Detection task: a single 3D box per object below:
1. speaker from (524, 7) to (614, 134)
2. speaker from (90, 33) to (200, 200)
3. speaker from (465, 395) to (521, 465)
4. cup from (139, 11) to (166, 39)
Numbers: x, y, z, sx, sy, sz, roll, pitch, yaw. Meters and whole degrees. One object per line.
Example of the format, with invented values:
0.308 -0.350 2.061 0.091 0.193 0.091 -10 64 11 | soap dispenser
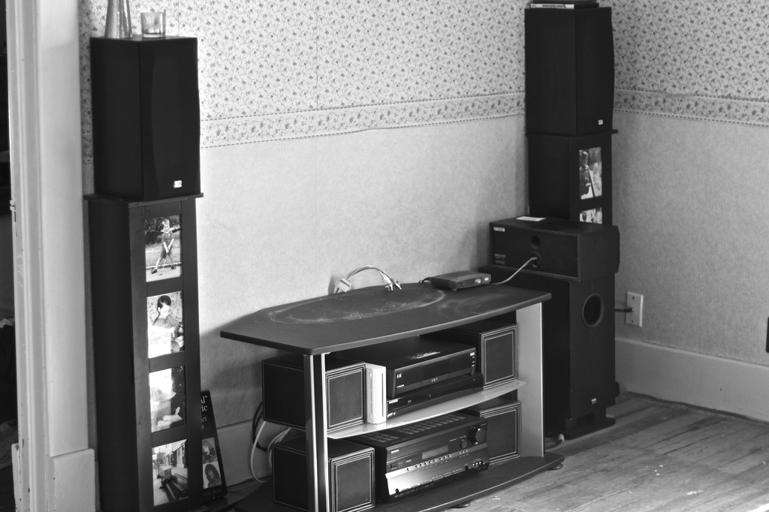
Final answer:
0.973 -0.983 4.144 0.451 0.675 0.236 0 14 9 | speaker
-0.979 -0.543 3.124 0.451 0.637 0.230 2 14 18 | speaker
0.495 0.811 3.633 0.297 0.268 0.160 -18 17 -40 | speaker
-0.895 -0.899 3.060 0.120 0.108 0.075 -4 13 -26 | cup
